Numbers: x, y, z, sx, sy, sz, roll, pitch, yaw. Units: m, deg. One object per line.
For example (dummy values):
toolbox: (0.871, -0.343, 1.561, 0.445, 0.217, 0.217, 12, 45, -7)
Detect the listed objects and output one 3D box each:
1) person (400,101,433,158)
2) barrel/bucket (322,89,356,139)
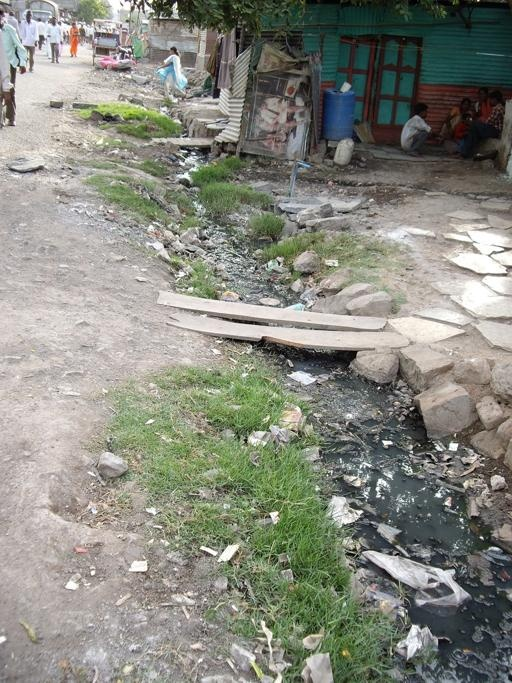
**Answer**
person: (4.250, -5.656, 13.597, 0.677, 1.237, 1.348, 9, 16, 15)
barrel/bucket: (2.021, -5.661, 12.766, 0.776, 1.196, 0.606, 6, 15, 3)
